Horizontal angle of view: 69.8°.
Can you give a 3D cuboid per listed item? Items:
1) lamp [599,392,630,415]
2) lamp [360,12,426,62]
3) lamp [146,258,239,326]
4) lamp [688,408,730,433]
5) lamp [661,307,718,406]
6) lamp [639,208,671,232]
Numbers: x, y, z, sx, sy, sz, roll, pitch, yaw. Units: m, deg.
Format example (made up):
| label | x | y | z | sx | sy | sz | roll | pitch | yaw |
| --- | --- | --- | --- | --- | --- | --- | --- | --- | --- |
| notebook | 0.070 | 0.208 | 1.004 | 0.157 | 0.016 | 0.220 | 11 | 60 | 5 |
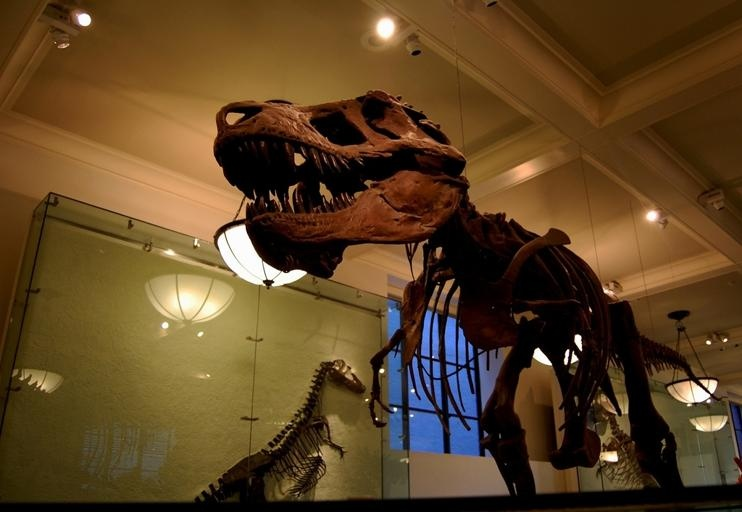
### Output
| label | x | y | z | sx | sy | sz | roll | pitch | yaw |
| --- | --- | --- | --- | --- | --- | --- | --- | --- | --- |
| lamp | 3.340 | 2.039 | 7.361 | 0.346 | 0.327 | 0.727 | -12 | -27 | 27 |
| lamp | 0.183 | -1.783 | 4.237 | 0.384 | 0.402 | 0.280 | 15 | -48 | 0 |
| lamp | -1.647 | 0.369 | 4.705 | 0.478 | 0.195 | 0.485 | -7 | -38 | -2 |
| lamp | 5.033 | 2.507 | 7.984 | 0.518 | 0.212 | 0.524 | 4 | -24 | -3 |
| lamp | 4.382 | 1.407 | 7.394 | 0.614 | 1.228 | 0.618 | -10 | -5 | 6 |
| lamp | 3.278 | -0.430 | 6.171 | 0.200 | 0.121 | 0.321 | -19 | 0 | -11 |
